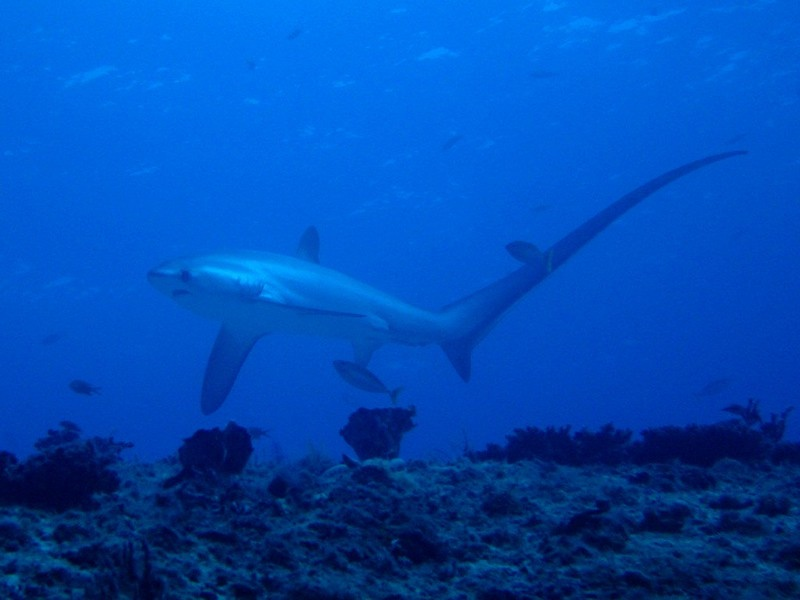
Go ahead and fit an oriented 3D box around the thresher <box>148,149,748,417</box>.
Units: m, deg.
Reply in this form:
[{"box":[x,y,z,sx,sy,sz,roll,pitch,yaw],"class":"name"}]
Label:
[{"box":[0.078,-3.563,42.613,32.661,9.251,18.044,8,15,14],"class":"thresher"}]
